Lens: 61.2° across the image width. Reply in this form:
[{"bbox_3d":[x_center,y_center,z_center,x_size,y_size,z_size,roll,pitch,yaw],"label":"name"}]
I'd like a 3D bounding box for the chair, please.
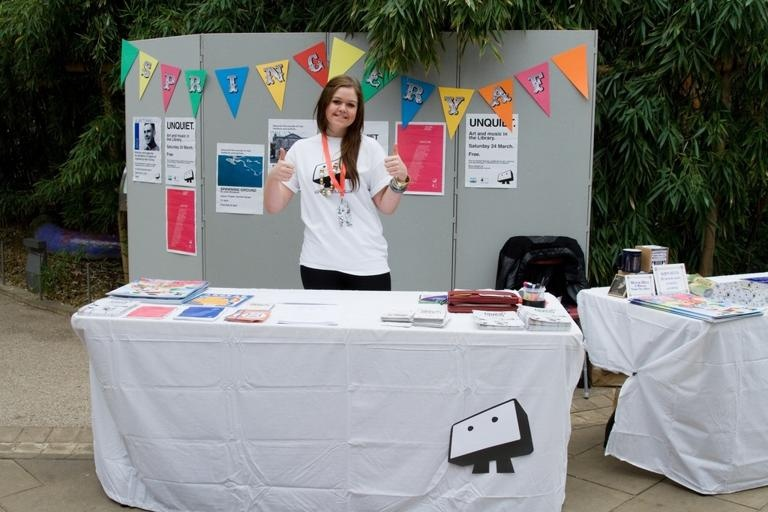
[{"bbox_3d":[1.494,0.547,5.945,0.874,1.457,0.787,-1,-8,22],"label":"chair"}]

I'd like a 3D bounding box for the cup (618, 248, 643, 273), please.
[{"bbox_3d":[1.927,0.038,5.074,0.168,0.183,0.154,-1,5,0],"label":"cup"}]

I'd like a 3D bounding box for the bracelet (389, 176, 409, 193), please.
[{"bbox_3d":[0.112,-0.503,4.618,0.093,0.099,0.114,2,14,-4],"label":"bracelet"}]

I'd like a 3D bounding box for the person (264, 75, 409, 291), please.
[{"bbox_3d":[-0.274,-0.495,4.617,0.821,1.486,0.252,0,12,0],"label":"person"}]
